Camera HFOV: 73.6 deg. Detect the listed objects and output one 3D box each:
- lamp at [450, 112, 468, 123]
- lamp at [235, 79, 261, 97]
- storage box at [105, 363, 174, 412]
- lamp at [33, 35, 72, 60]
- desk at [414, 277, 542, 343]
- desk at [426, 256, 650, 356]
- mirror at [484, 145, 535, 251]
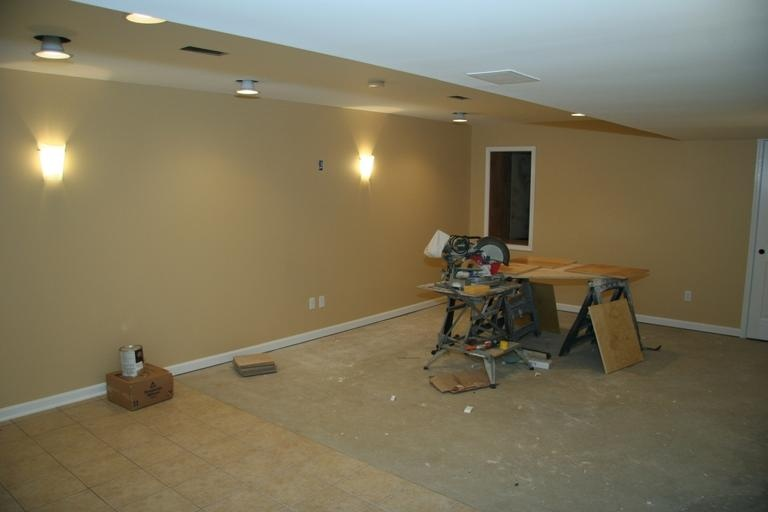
[{"bbox_3d":[1.165,-2.186,8.082,0.271,0.123,0.272,3,6,36],"label":"lamp"},{"bbox_3d":[-1.525,-1.857,5.719,0.214,0.122,0.209,-1,-1,-43],"label":"lamp"},{"bbox_3d":[-2.623,1.434,5.603,0.489,0.291,0.498,5,5,39],"label":"storage box"},{"bbox_3d":[-2.690,-1.663,4.154,0.216,0.116,0.211,-5,3,-42],"label":"lamp"},{"bbox_3d":[1.415,0.764,7.004,0.945,1.113,1.879,5,11,31],"label":"desk"},{"bbox_3d":[2.586,0.393,7.133,1.624,1.096,2.339,-9,12,-36],"label":"desk"},{"bbox_3d":[2.544,-1.189,10.461,0.869,1.944,2.865,1,10,13],"label":"mirror"}]
